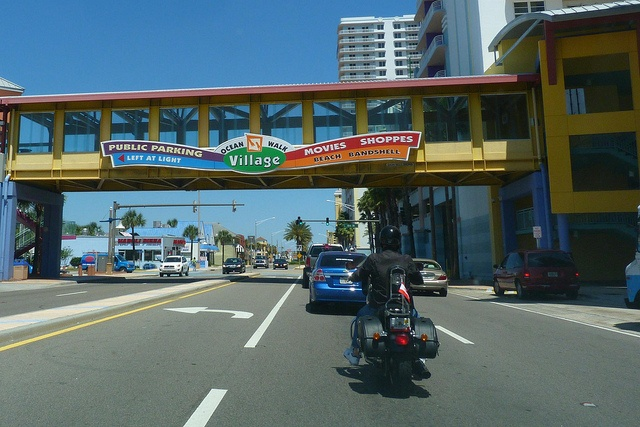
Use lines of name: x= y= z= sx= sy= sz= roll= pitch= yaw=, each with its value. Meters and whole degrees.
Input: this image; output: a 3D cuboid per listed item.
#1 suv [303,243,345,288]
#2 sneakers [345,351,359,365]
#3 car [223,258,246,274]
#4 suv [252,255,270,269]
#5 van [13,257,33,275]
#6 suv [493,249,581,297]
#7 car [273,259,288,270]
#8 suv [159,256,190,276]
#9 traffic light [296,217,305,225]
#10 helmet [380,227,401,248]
suv: x=-0.009 y=2.939 z=33.937 sx=1.959 sy=2.048 sz=3.688 roll=1 pitch=-2 yaw=1
sneakers: x=0.813 y=3.635 z=14.878 sx=0.239 sy=0.131 sz=0.392 roll=9 pitch=-37 yaw=41
car: x=-8.262 y=5.061 z=56.982 sx=1.645 sy=1.363 sz=2.531 roll=-2 pitch=-3 yaw=2
suv: x=-7.912 y=6.497 z=80.013 sx=1.296 sy=1.158 sz=2.877 roll=-2 pitch=-10 yaw=0
van: x=-21.954 y=3.895 z=43.900 sx=1.376 sy=1.016 sz=2.306 roll=0 pitch=-14 yaw=2
suv: x=9.566 y=2.722 z=27.343 sx=1.765 sy=1.417 sz=3.572 roll=1 pitch=-3 yaw=-1
car: x=-4.923 y=6.327 z=73.901 sx=1.581 sy=1.260 sz=2.114 roll=-1 pitch=-3 yaw=-8
suv: x=-12.473 y=4.577 z=51.025 sx=2.003 sy=1.754 sz=3.367 roll=-1 pitch=-3 yaw=-3
traffic light: x=-1.870 y=0.805 z=55.335 sx=0.934 sy=0.989 sz=0.965 roll=0 pitch=-22 yaw=0
helmet: x=1.735 y=0.613 z=14.864 sx=0.420 sy=0.558 sz=0.542 roll=4 pitch=13 yaw=3
